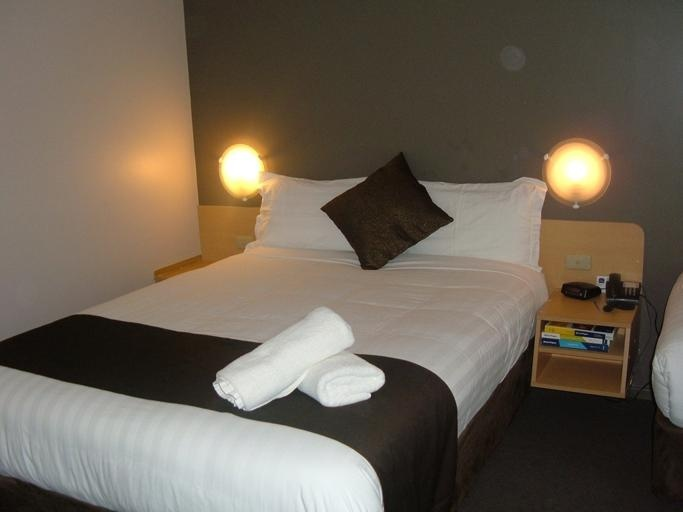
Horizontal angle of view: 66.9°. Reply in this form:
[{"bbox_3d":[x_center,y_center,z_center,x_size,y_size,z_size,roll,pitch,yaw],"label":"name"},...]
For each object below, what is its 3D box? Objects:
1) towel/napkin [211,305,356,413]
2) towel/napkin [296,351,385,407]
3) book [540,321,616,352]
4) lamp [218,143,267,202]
[{"bbox_3d":[-0.184,0.351,1.757,0.449,0.140,0.245,-28,43,-28],"label":"towel/napkin"},{"bbox_3d":[-0.020,0.452,1.807,0.266,0.120,0.266,0,-9,-30],"label":"towel/napkin"},{"bbox_3d":[1.256,0.426,2.756,0.359,0.139,0.175,3,8,19],"label":"book"},{"bbox_3d":[-0.765,-0.625,3.885,0.387,0.413,0.102,7,12,23],"label":"lamp"}]
